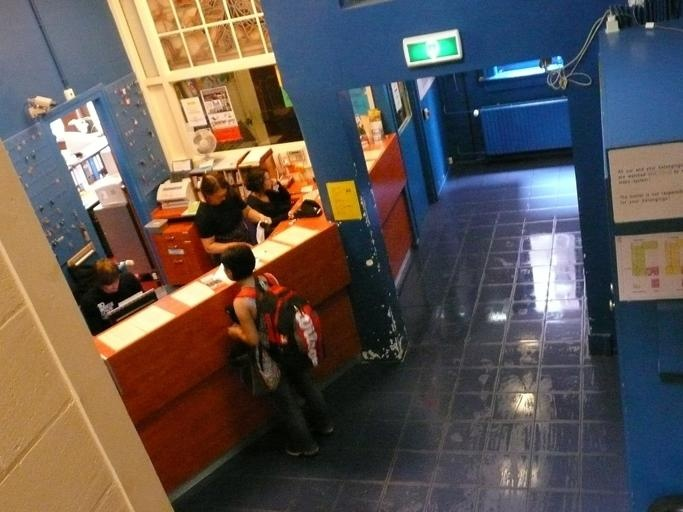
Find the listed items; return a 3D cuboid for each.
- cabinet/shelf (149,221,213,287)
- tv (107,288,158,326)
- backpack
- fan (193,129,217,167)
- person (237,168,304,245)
[{"bbox_3d":[-2.372,-0.067,7.210,0.702,0.819,0.714,-14,25,-15],"label":"cabinet/shelf"},{"bbox_3d":[-1.819,0.433,4.151,0.429,0.147,0.201,-29,27,-32],"label":"tv"},{"bbox_3d":[-0.544,0.567,4.134,0.725,0.773,0.501,-4,17,31],"label":"backpack"},{"bbox_3d":[-2.067,-1.611,7.156,0.338,0.549,0.212,-13,28,-24],"label":"fan"},{"bbox_3d":[-0.764,-0.650,5.868,0.433,0.977,0.524,-34,43,-27],"label":"person"}]
